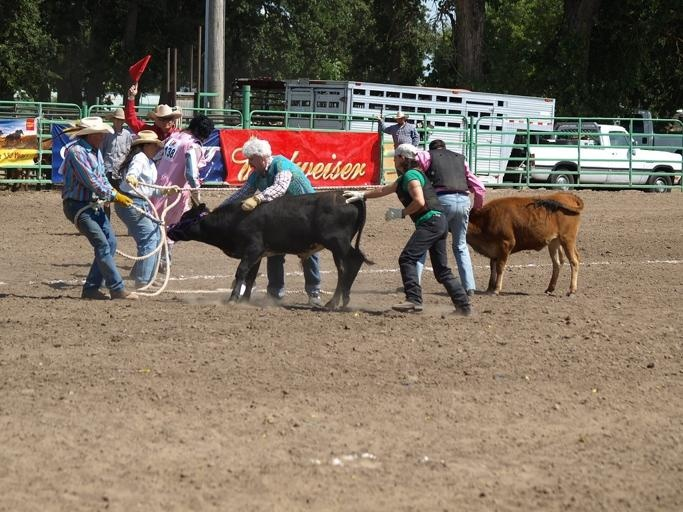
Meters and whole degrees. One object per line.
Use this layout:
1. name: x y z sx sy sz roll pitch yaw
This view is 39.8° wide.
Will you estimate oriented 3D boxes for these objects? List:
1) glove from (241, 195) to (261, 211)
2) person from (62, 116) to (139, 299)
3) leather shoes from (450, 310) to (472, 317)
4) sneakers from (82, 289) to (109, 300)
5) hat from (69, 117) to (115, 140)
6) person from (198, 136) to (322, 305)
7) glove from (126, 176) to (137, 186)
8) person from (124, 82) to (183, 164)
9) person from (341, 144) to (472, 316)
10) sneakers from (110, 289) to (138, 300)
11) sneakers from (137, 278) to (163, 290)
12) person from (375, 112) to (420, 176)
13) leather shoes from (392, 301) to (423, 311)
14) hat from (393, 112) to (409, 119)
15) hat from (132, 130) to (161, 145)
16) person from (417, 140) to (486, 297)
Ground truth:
1. glove: -1.056 -0.621 11.081 0.189 0.146 0.071 -28 -9 14
2. person: -2.946 -0.562 11.400 0.821 2.215 0.726 -1 10 -17
3. leather shoes: 1.411 0.680 11.169 0.165 0.048 0.103 1 0 18
4. sneakers: -3.019 0.479 11.539 0.381 0.170 0.134 0 7 -18
5. hat: -2.975 -1.500 11.055 0.376 0.137 0.302 -3 4 6
6. person: -0.960 -0.385 11.487 1.256 2.037 1.087 -1 3 3
7. glove: -2.569 -0.928 11.587 0.039 0.110 0.109 -36 -12 29
8. person: -2.477 -1.931 12.975 0.890 0.411 0.668 -9 23 -3
9. person: 0.882 -0.304 11.007 1.351 1.961 0.507 2 9 1
10. sneakers: -2.632 0.468 11.431 0.303 0.143 0.136 -1 7 -13
11. sneakers: -2.533 0.371 12.538 0.342 0.161 0.111 11 -4 -17
12. person: 1.094 -2.103 18.828 0.791 1.481 0.388 -3 -10 29
13. leather shoes: 0.780 0.603 11.122 0.352 0.177 0.131 4 -12 -5
14. hat: 1.200 -2.840 18.844 0.208 0.106 0.257 -3 -4 7
15. hat: -2.428 -1.452 11.704 0.302 0.130 0.285 -7 0 11
16. person: 1.330 -0.541 12.115 1.028 2.229 0.697 8 -24 -11
